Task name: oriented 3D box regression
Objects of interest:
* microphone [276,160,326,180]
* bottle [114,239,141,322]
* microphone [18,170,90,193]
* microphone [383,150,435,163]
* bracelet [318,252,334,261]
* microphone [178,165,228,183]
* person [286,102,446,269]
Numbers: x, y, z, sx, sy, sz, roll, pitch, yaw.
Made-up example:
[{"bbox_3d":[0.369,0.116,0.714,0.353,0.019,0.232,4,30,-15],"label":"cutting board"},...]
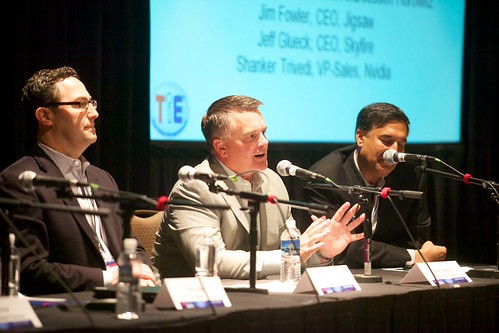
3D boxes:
[{"bbox_3d":[0.339,0.033,3.645,0.441,0.125,0.117,10,8,40],"label":"microphone"},{"bbox_3d":[-0.638,0.592,2.662,0.123,0.361,0.162,-3,5,-14],"label":"bottle"},{"bbox_3d":[-1.210,0.092,3.125,0.407,0.102,0.112,7,12,6],"label":"microphone"},{"bbox_3d":[1.270,-0.077,4.164,0.530,0.137,0.147,0,3,43],"label":"microphone"},{"bbox_3d":[0.558,0.663,3.790,0.076,0.031,0.088,15,-6,-44],"label":"bracelet"},{"bbox_3d":[-0.314,0.039,3.204,0.385,0.096,0.113,1,2,35],"label":"microphone"},{"bbox_3d":[1.211,0.171,5.040,1.234,1.502,1.294,-2,4,10],"label":"person"}]
